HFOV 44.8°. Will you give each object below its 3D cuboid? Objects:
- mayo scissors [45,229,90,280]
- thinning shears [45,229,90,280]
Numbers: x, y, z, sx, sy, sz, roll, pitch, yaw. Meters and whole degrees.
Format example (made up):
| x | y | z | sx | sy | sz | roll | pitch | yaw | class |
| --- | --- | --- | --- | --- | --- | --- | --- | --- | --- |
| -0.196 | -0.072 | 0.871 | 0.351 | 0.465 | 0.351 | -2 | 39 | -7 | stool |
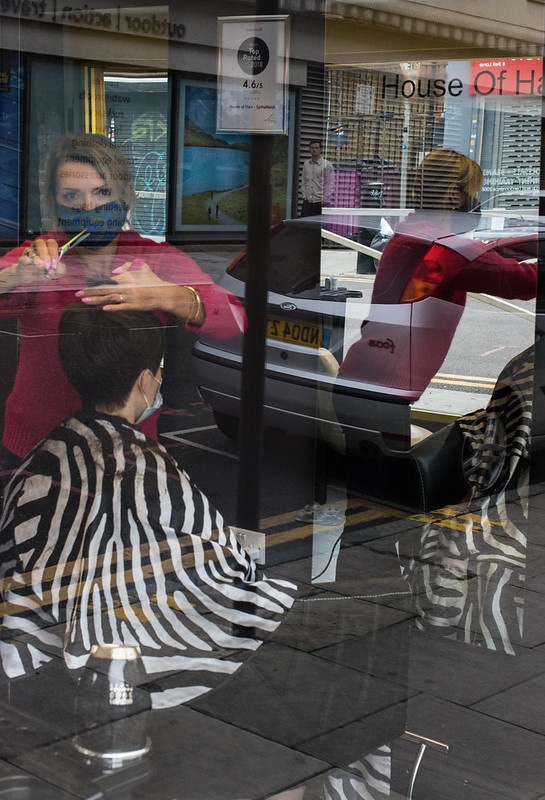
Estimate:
| x | y | z | sx | sy | sz | roll | pitch | yaw | class |
| --- | --- | --- | --- | --- | --- | --- | --- | --- | --- |
| -0.572 | -0.414 | 1.839 | 0.044 | 0.133 | 0.018 | 44 | 11 | -15 | mayo scissors |
| -0.572 | -0.413 | 1.838 | 0.044 | 0.133 | 0.018 | 44 | 11 | -15 | thinning shears |
